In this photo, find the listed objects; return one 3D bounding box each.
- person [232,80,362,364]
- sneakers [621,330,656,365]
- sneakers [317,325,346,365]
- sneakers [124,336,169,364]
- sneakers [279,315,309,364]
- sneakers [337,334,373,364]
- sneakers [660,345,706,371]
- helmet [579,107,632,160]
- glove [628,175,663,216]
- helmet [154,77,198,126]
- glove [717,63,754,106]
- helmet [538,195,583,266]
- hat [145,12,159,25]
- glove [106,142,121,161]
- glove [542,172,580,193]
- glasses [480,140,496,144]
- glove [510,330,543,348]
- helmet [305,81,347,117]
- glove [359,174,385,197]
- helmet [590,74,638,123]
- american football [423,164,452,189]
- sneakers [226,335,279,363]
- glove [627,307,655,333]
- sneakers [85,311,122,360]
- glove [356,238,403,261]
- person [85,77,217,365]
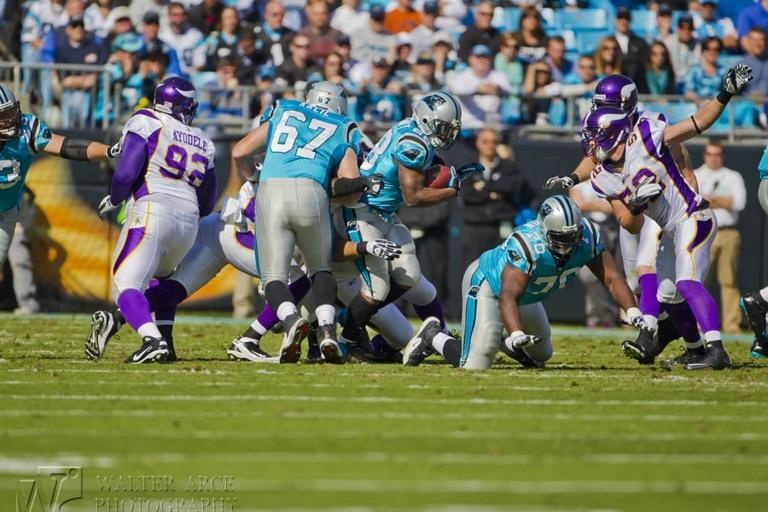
[{"bbox_3d":[-0.788,-0.339,12.148,1.239,2.787,1.122,6,-13,-8],"label":"person"},{"bbox_3d":[2.417,0.891,12.467,0.154,0.293,0.410,-13,-31,33],"label":"sneakers"},{"bbox_3d":[-0.463,0.844,11.847,0.143,0.445,0.210,-6,50,8],"label":"sneakers"},{"bbox_3d":[-2.107,0.851,11.763,0.380,0.303,0.292,6,9,-9],"label":"sneakers"},{"bbox_3d":[-0.789,0.779,11.794,0.188,0.523,0.251,-5,40,-25],"label":"sneakers"},{"bbox_3d":[-0.193,0.907,12.453,0.455,0.206,0.156,2,6,30],"label":"sneakers"},{"bbox_3d":[2.771,0.981,12.447,0.529,0.242,0.184,-5,19,3],"label":"sneakers"},{"bbox_3d":[2.033,-1.113,12.075,0.466,0.480,0.403,-2,14,3],"label":"helmet"},{"bbox_3d":[2.352,-0.526,11.962,0.114,0.271,0.356,18,-38,-36],"label":"glove"},{"bbox_3d":[-1.866,-1.486,12.187,0.352,0.465,0.452,17,22,15],"label":"helmet"},{"bbox_3d":[3.127,-1.539,11.800,0.269,0.372,0.322,8,9,6],"label":"glove"},{"bbox_3d":[1.526,-0.239,11.460,0.349,0.522,0.514,-5,30,-13],"label":"helmet"},{"bbox_3d":[-2.990,-3.083,17.054,0.156,0.123,0.162,5,10,17],"label":"hat"},{"bbox_3d":[-2.434,-0.943,11.974,0.172,0.111,0.076,-24,-39,31],"label":"glove"},{"bbox_3d":[1.935,-0.809,14.423,0.247,0.157,0.386,-1,22,34],"label":"glove"},{"bbox_3d":[1.283,-1.375,15.954,0.134,0.046,0.047,7,9,-5],"label":"glasses"},{"bbox_3d":[1.207,0.739,11.315,0.233,0.070,0.142,8,3,23],"label":"glove"},{"bbox_3d":[-0.498,-1.459,12.332,0.276,0.371,0.373,16,4,10],"label":"helmet"},{"bbox_3d":[-0.106,-0.623,11.912,0.202,0.203,0.458,7,9,-1],"label":"glove"},{"bbox_3d":[2.143,-1.494,12.464,0.347,0.431,0.463,1,1,45],"label":"helmet"},{"bbox_3d":[0.515,-0.735,12.226,0.248,0.210,0.294,9,9,9],"label":"american football"},{"bbox_3d":[-1.244,0.880,12.190,0.549,0.265,0.208,3,-3,-5],"label":"sneakers"},{"bbox_3d":[2.256,0.581,11.584,0.321,0.104,0.193,26,4,25],"label":"glove"},{"bbox_3d":[-2.549,0.655,11.938,0.272,0.568,0.200,-10,43,-45],"label":"sneakers"},{"bbox_3d":[-0.043,-0.045,11.834,0.324,0.198,0.091,4,-31,19],"label":"glove"},{"bbox_3d":[-2.109,-0.336,11.937,0.882,2.557,0.937,7,9,2],"label":"person"}]
